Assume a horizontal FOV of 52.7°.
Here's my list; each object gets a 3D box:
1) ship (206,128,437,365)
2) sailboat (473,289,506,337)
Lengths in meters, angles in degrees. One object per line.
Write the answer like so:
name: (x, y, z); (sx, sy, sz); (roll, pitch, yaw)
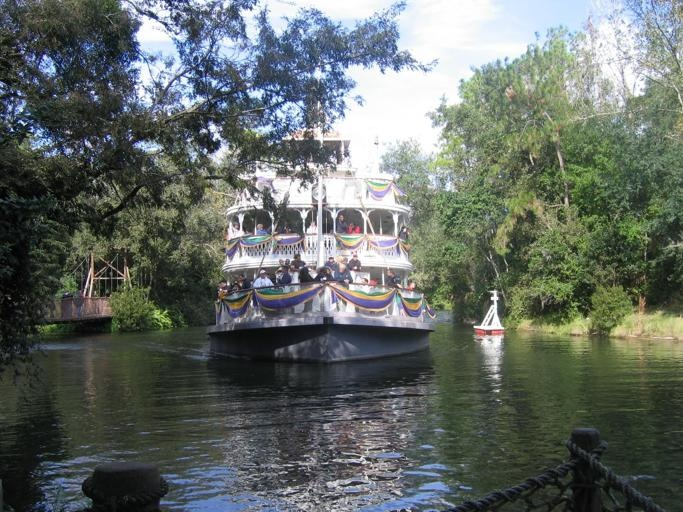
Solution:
ship: (-0.827, 0.638, 29.290); (6.251, 5.835, 12.055); (0, -7, -1)
sailboat: (11.175, 4.154, 51.465); (1.882, 4.347, 2.847); (3, -4, -12)
